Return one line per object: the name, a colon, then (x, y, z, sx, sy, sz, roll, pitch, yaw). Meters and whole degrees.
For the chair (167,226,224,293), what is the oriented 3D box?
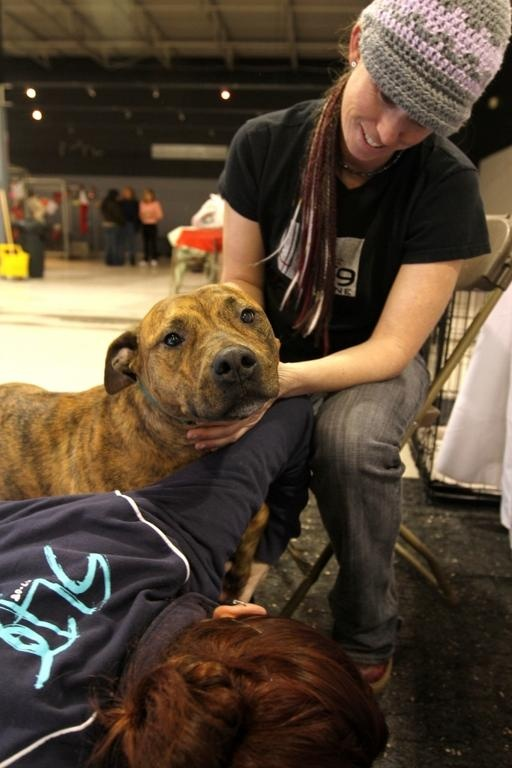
chair: (-0.467, -1.026, 4.940, 0.585, 0.558, 0.608, 0, 11, -4)
